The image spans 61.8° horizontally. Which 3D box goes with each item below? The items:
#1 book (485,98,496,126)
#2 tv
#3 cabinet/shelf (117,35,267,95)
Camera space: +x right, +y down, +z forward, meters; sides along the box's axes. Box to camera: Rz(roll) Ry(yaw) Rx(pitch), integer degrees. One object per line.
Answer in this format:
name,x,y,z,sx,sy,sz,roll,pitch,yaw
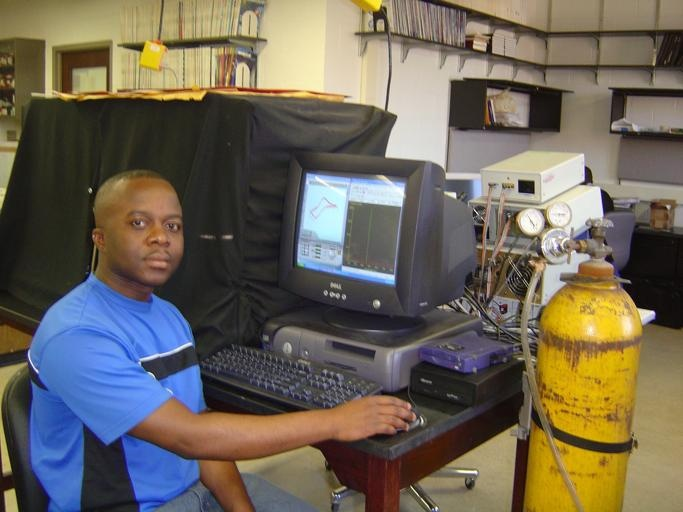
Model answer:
book,1.518,-1.466,5.778,0.095,0.341,0.381,3,5,15
tv,0.130,-0.080,1.978,0.616,0.615,0.483,6,14,34
cabinet/shelf,-1.363,-1.669,4.943,1.659,0.488,0.422,7,7,38
